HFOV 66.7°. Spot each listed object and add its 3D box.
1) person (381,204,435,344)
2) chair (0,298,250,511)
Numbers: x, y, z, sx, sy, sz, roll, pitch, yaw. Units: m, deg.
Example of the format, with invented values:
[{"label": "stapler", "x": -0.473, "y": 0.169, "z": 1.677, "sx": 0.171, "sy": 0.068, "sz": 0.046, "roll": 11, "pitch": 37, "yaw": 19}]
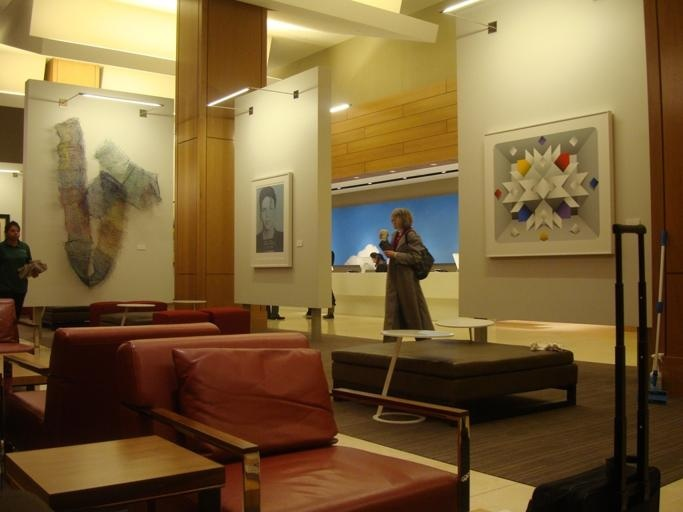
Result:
[{"label": "person", "x": 0.902, "y": 0.156, "z": 6.988, "sx": 0.643, "sy": 1.581, "sz": 0.601, "roll": -1, "pitch": 0, "yaw": 7}, {"label": "chair", "x": -1.283, "y": 0.729, "z": 2.875, "sx": 0.815, "sy": 0.719, "sz": 0.764, "roll": 1, "pitch": -1, "yaw": -36}]
